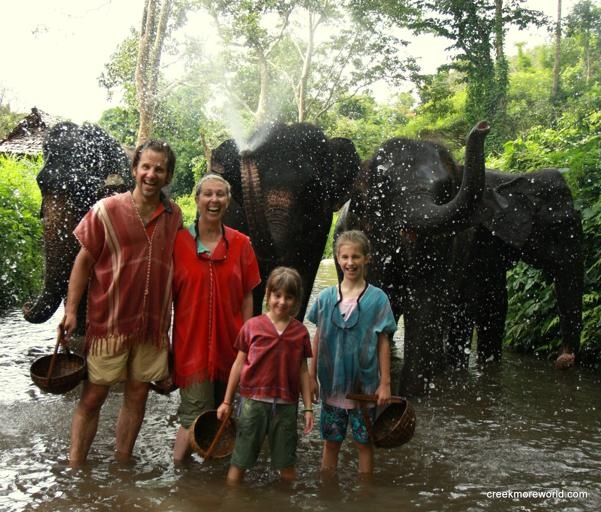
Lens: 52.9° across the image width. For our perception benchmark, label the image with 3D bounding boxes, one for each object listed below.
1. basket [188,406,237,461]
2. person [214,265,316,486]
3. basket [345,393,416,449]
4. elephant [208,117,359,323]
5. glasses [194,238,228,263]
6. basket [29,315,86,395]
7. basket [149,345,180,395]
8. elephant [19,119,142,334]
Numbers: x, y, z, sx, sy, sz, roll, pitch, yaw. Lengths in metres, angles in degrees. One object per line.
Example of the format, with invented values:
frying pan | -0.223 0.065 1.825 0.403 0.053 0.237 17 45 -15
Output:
basket | -0.473 0.998 3.366 0.242 0.236 0.155 -44 8 -30
person | -0.198 0.637 3.329 0.525 1.140 0.332 0 5 -3
basket | 0.414 0.898 3.279 0.340 0.336 0.340 0 5 -5
elephant | -0.195 -0.183 6.008 1.489 1.953 2.525 2 -6 2
glasses | -0.507 -0.030 3.474 0.113 0.173 0.085 0 -5 -1
basket | -1.387 0.570 3.404 0.252 0.377 0.290 7 14 -11
basket | -0.794 0.711 3.675 0.221 0.253 0.206 0 -4 22
elephant | -2.193 -0.302 5.738 1.084 1.863 2.219 -1 10 -4
